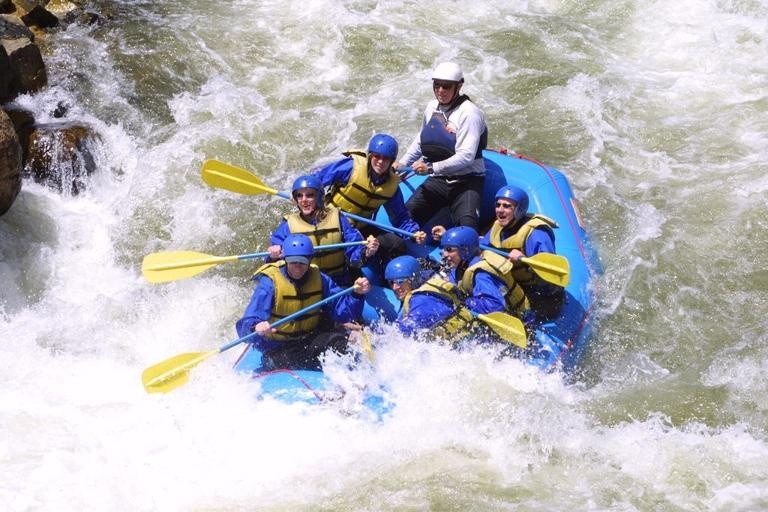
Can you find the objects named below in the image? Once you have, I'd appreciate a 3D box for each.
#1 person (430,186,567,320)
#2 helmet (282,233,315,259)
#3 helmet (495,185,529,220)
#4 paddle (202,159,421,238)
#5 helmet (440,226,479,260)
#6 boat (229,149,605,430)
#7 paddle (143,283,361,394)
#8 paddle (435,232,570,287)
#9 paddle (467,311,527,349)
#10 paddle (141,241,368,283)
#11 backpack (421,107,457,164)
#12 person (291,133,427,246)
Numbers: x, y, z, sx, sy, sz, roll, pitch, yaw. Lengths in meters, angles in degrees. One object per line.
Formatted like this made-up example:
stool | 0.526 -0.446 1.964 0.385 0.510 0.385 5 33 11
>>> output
person | 1.389 0.167 9.939 1.208 0.665 1.653 29 103 34
helmet | -0.947 -0.109 9.598 0.327 0.120 0.279 -3 78 3
helmet | 1.476 -0.609 10.148 0.420 0.318 0.339 3 93 -28
paddle | -0.881 -0.663 10.828 2.877 0.221 0.410 17 110 5
helmet | 0.838 -0.154 9.870 0.407 0.317 0.309 1 94 -6
boat | 1.216 1.019 11.098 2.532 0.939 4.088 34 67 7
paddle | -1.454 0.989 9.977 2.956 0.158 0.414 -23 91 -15
paddle | 1.467 0.017 9.693 1.139 0.075 0.321 19 95 13
paddle | 1.290 0.779 9.500 0.768 0.102 0.235 22 112 14
paddle | -1.490 0.097 10.322 2.735 0.211 0.396 -6 83 1
backpack | 0.677 -1.462 10.715 0.449 0.171 0.577 8 122 29
person | -0.275 -0.748 10.628 1.196 0.759 1.102 25 119 -32
